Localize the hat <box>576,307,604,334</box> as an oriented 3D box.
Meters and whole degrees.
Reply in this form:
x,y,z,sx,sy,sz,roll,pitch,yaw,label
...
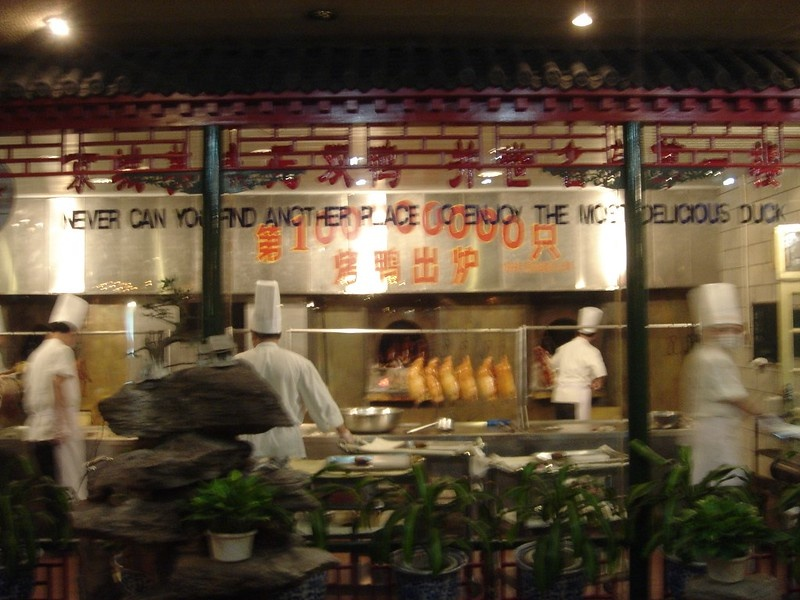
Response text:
x,y,z,sx,sy,sz,roll,pitch,yaw,label
2.004,0.208,10.623,0.307,0.248,0.260,16,-4,-33,hat

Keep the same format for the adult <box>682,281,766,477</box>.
x,y,z,sx,sy,sz,roll,pitch,yaw,label
2.568,0.724,8.236,0.771,1.961,0.672,-7,24,3,adult

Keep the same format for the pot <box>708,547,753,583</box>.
x,y,z,sx,sy,sz,roll,pitch,yaw,label
2.398,1.927,7.294,0.314,0.153,0.309,-4,-7,-1,pot

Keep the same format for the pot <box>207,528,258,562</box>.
x,y,z,sx,sy,sz,roll,pitch,yaw,label
-1.133,1.638,6.766,0.255,0.111,0.249,1,-3,0,pot

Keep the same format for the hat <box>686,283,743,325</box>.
x,y,z,sx,sy,sz,roll,pitch,yaw,label
2.509,0.055,8.161,0.391,0.305,0.334,-1,-2,-20,hat
